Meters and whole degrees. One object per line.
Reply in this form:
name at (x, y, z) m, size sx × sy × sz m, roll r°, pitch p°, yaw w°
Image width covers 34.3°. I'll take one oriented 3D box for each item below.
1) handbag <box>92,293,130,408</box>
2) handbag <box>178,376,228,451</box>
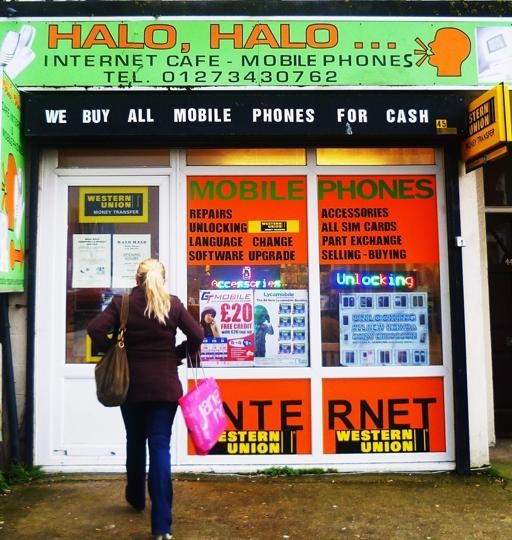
handbag at (-1.029, 0.584, 5.939) m, size 0.250 × 0.768 × 0.200 m, roll -1°, pitch 4°, yaw -21°
handbag at (-0.386, 1.057, 6.010) m, size 0.251 × 0.495 × 0.401 m, roll 2°, pitch 5°, yaw 24°
